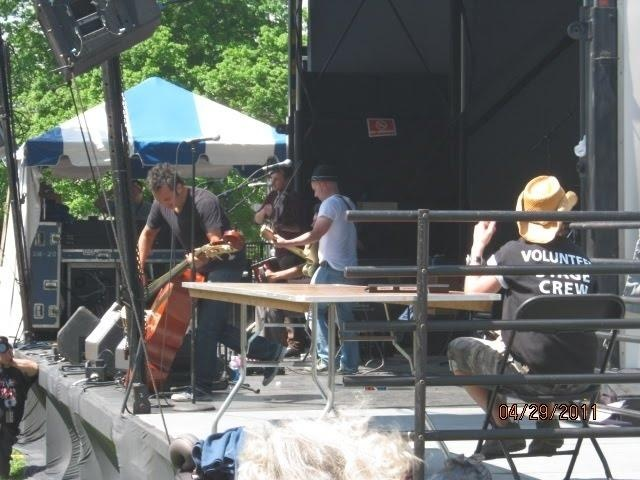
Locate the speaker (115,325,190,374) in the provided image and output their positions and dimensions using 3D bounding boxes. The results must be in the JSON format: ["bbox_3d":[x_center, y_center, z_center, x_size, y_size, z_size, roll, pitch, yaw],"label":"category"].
[{"bbox_3d":[-1.935,1.222,14.282,0.436,0.296,0.422,4,5,17],"label":"speaker"}]

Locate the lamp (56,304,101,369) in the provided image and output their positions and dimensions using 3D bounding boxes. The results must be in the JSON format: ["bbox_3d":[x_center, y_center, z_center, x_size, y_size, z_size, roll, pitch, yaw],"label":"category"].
[{"bbox_3d":[-2.713,1.085,15.025,0.394,0.596,0.461,-1,7,-32],"label":"lamp"}]

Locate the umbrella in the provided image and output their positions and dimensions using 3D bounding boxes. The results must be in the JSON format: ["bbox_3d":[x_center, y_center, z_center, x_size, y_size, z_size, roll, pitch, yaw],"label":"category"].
[{"bbox_3d":[-2.019,-1.061,17.221,2.908,1.769,2.447,2,5,-22],"label":"umbrella"}]

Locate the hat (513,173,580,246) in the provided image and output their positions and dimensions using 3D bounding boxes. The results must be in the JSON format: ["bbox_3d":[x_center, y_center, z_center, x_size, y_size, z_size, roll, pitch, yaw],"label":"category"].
[{"bbox_3d":[2.102,-0.265,12.384,0.481,0.676,0.312,3,-30,36],"label":"hat"}]

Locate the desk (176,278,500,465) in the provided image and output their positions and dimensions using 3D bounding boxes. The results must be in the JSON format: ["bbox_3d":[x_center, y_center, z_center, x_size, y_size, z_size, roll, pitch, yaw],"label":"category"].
[{"bbox_3d":[0.030,0.575,12.249,1.412,1.241,2.552,4,-5,-29],"label":"desk"}]

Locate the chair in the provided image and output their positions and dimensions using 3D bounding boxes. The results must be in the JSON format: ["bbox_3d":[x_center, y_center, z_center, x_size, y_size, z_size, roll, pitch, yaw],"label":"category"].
[{"bbox_3d":[2.117,1.309,12.010,1.209,1.653,0.618,0,0,5],"label":"chair"}]

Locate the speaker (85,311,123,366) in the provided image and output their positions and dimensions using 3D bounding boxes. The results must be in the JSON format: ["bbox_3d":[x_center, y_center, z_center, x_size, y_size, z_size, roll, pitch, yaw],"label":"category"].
[{"bbox_3d":[-2.325,1.064,14.587,0.408,0.554,0.439,1,7,-20],"label":"speaker"}]

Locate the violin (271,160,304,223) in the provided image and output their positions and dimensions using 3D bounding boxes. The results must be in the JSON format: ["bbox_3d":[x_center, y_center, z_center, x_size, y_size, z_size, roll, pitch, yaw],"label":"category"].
[{"bbox_3d":[-0.366,-0.557,16.147,0.332,0.712,0.317,-1,9,-37],"label":"violin"}]

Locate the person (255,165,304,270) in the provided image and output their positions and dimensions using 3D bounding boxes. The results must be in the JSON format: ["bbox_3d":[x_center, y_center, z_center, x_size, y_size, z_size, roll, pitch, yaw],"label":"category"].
[{"bbox_3d":[-0.473,-0.251,16.209,0.548,1.263,0.513,0,9,-33],"label":"person"}]

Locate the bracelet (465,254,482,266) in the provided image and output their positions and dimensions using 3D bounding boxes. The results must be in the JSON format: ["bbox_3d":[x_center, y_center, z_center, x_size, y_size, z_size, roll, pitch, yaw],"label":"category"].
[{"bbox_3d":[1.435,0.198,12.392,0.122,0.088,0.132,3,2,13],"label":"bracelet"}]

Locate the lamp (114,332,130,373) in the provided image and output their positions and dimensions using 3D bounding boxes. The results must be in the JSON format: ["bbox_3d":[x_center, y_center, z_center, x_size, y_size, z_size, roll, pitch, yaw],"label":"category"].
[{"bbox_3d":[-2.078,1.199,14.189,0.137,0.386,0.622,0,0,-9],"label":"lamp"}]

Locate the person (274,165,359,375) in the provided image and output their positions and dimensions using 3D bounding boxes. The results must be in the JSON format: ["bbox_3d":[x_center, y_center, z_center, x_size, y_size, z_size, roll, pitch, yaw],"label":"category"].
[{"bbox_3d":[-0.004,0.333,14.897,0.999,2.219,0.863,0,0,-3],"label":"person"}]
